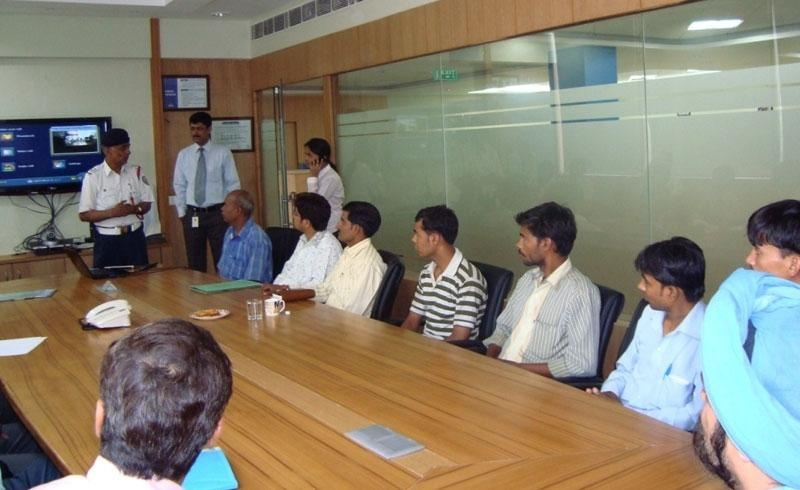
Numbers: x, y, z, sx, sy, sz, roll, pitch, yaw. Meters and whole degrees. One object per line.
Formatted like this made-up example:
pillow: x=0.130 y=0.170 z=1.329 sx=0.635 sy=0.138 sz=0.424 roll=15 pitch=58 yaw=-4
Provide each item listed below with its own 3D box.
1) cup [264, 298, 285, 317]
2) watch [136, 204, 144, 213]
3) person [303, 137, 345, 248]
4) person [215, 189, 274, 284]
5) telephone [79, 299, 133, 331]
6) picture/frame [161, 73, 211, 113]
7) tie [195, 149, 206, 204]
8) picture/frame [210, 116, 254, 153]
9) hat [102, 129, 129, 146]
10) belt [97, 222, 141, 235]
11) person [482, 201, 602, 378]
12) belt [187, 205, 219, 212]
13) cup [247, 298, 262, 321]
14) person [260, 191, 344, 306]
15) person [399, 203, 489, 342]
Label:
cup: x=-0.868 y=0.431 z=3.753 sx=0.096 sy=0.106 sz=0.144 roll=-2 pitch=-3 yaw=28
watch: x=-2.772 y=-0.388 z=5.721 sx=0.061 sy=0.088 sz=0.039 roll=0 pitch=-2 yaw=11
person: x=-0.931 y=-0.399 z=6.514 sx=0.506 sy=1.671 sz=0.563 roll=3 pitch=3 yaw=3
person: x=-1.472 y=-0.079 z=5.503 sx=0.707 sy=1.253 sz=0.968 roll=0 pitch=7 yaw=-15
telephone: x=-1.917 y=0.461 z=3.605 sx=0.290 sy=0.109 sz=0.293 roll=5 pitch=15 yaw=-1
picture/frame: x=-3.167 y=-2.238 z=7.855 sx=0.785 sy=0.585 sz=0.093 roll=-5 pitch=6 yaw=-16
tie: x=-2.538 y=-0.823 z=6.823 sx=0.145 sy=0.845 sz=0.063 roll=-4 pitch=-30 yaw=-9
picture/frame: x=-2.534 y=-1.652 z=8.005 sx=0.802 sy=0.691 sz=0.058 roll=-1 pitch=-3 yaw=-30
hat: x=-3.014 y=-1.120 z=5.667 sx=0.229 sy=0.167 sz=0.234 roll=1 pitch=8 yaw=34
belt: x=-3.059 y=-0.183 z=5.834 sx=0.452 sy=0.123 sz=0.247 roll=-9 pitch=16 yaw=-26
person: x=0.967 y=0.303 z=3.521 sx=0.713 sy=1.246 sz=1.104 roll=0 pitch=4 yaw=-10
belt: x=-2.503 y=-0.466 z=6.844 sx=0.418 sy=0.088 sz=0.086 roll=-3 pitch=15 yaw=-3
cup: x=-0.972 y=0.438 z=3.674 sx=0.123 sy=0.140 sz=0.122 roll=-1 pitch=9 yaw=0
person: x=-0.769 y=0.022 z=4.567 sx=0.754 sy=1.075 sz=0.852 roll=1 pitch=10 yaw=-12
person: x=0.172 y=0.150 z=4.033 sx=0.762 sy=1.238 sz=0.908 roll=1 pitch=3 yaw=-4
